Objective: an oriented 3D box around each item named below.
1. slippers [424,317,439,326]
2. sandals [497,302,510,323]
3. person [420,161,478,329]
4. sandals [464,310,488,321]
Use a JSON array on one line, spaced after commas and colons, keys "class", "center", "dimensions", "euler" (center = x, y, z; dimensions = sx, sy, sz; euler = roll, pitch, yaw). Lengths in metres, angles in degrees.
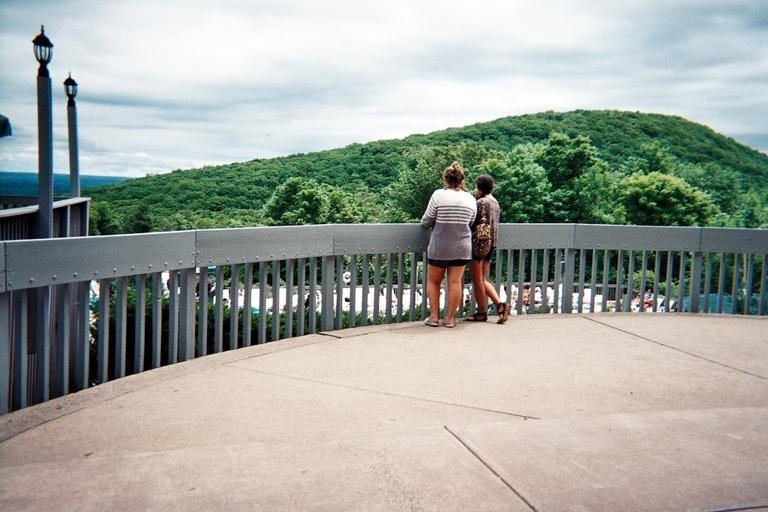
[{"class": "slippers", "center": [0.658, 0.872, 8.258], "dimensions": [0.207, 0.098, 0.211], "euler": [1, 10, 3]}, {"class": "sandals", "center": [1.636, 0.775, 8.363], "dimensions": [0.146, 0.352, 0.102], "euler": [-1, 4, -18]}, {"class": "person", "center": [0.855, -0.147, 8.362], "dimensions": [0.661, 2.242, 0.895], "euler": [6, 12, 25]}, {"class": "sandals", "center": [1.314, 0.826, 8.617], "dimensions": [0.289, 0.103, 0.136], "euler": [2, 0, 13]}]
